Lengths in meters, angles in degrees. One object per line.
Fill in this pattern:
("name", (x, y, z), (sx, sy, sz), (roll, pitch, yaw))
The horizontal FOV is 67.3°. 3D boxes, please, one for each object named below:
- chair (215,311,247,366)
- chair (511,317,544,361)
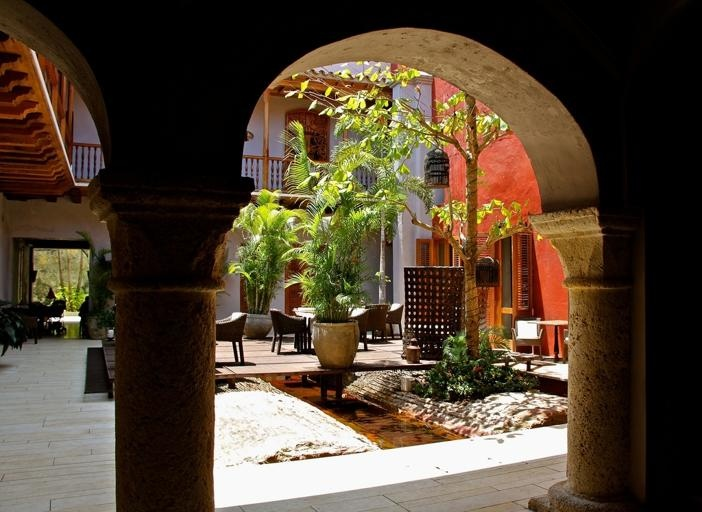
("chair", (-1.903, 1.277, 8.407), (0.427, 0.748, 1.629), (0, -6, -13))
("chair", (3.169, 1.422, 9.507), (0.509, 0.625, 0.502), (-2, -6, 12))
